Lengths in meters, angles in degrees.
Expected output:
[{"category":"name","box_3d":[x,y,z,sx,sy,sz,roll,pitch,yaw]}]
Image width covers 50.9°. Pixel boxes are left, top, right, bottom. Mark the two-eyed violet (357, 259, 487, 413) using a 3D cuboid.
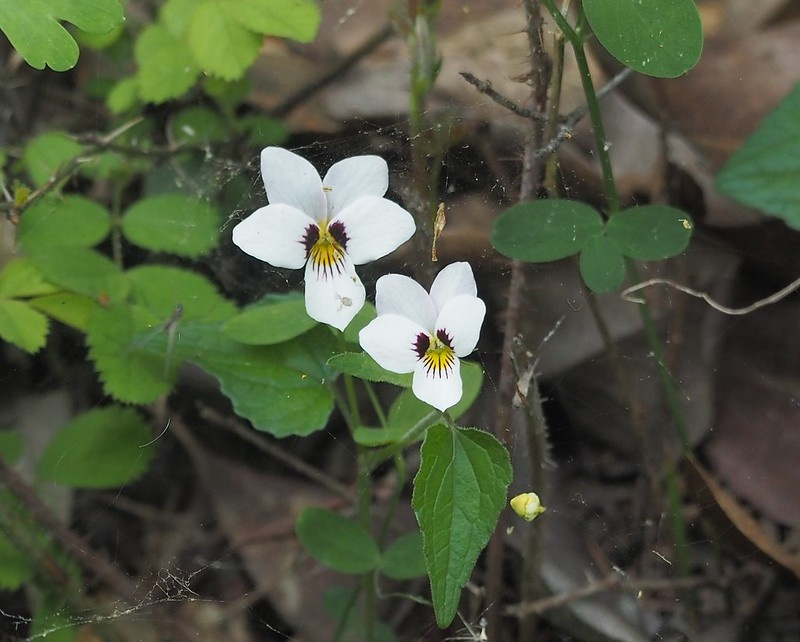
[{"category":"two-eyed violet","box_3d":[0.033,0.019,1.278,0.185,0.243,0.053,-3,30,-8]}]
